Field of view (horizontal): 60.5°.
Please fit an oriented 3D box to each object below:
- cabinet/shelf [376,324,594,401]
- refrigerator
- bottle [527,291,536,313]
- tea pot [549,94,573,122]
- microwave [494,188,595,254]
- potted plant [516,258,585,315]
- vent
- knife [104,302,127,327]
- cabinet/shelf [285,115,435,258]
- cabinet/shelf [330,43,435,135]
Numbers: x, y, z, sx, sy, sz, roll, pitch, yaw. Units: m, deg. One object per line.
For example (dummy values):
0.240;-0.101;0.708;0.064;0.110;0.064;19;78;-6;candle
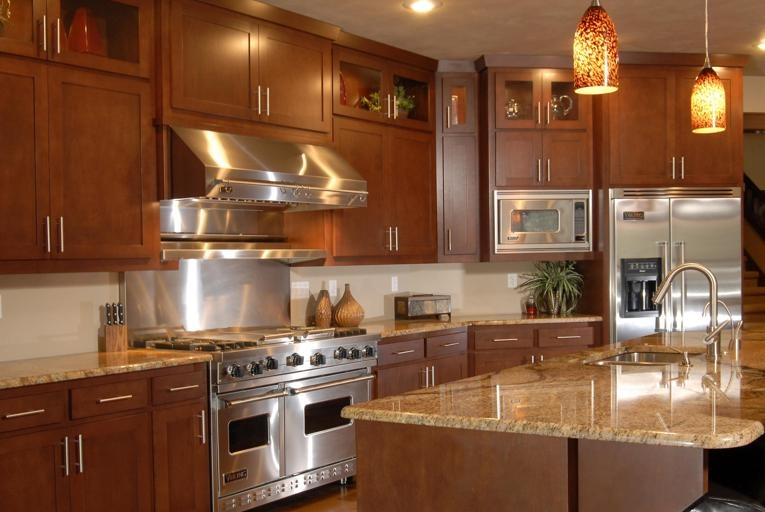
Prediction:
0.840;0.795;5.581;2.149;0.509;0.341;-5;7;-23;cabinet/shelf
2.685;0.062;6.135;0.976;1.585;0.593;0;22;22;refrigerator
1.414;0.459;6.237;0.097;0.164;0.253;0;7;14;bottle
1.628;-1.351;5.958;0.270;0.255;0.162;1;1;10;tea pot
1.507;-0.260;6.158;0.892;0.519;0.456;-1;-7;12;microwave
1.594;0.289;6.324;0.542;0.422;0.520;0;1;-9;potted plant
-0.898;-0.466;4.778;0.902;0.733;1.409;-1;0;40;vent
-1.788;0.395;4.389;0.073;0.187;0.172;-2;-2;43;knife
-0.121;-0.493;5.623;0.530;1.198;1.446;4;7;38;cabinet/shelf
-0.030;-1.392;5.593;1.185;0.552;0.327;-1;3;-43;cabinet/shelf
